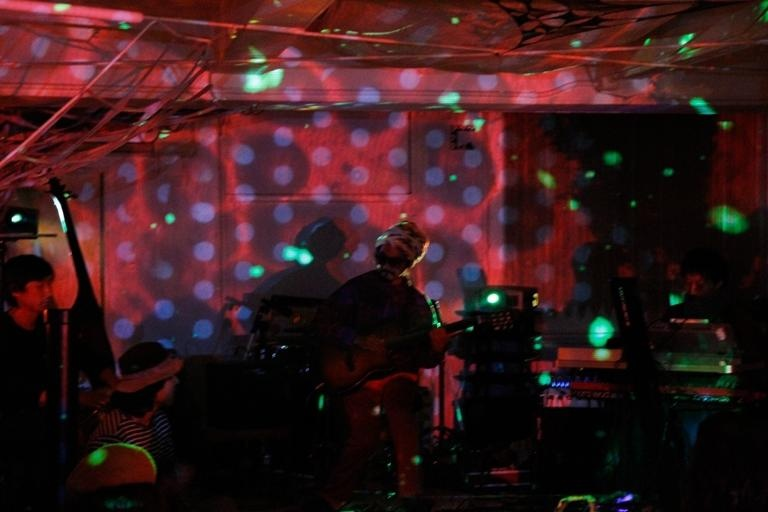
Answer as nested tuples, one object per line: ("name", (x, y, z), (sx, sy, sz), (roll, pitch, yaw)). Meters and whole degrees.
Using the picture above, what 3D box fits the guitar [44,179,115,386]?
("guitar", (-2.118, 0.232, 5.176), (0.258, 1.498, 0.614), (-8, 15, 0))

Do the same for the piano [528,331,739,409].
("piano", (1.703, 0.886, 5.205), (1.531, 0.482, 0.876), (-2, -5, 31))

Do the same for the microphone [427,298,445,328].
("microphone", (0.348, 0.439, 5.552), (0.061, 0.206, 0.171), (-24, -29, 23))

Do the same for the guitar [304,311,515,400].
("guitar", (0.254, 0.596, 5.486), (1.649, 0.535, 0.190), (-16, 38, -10))
